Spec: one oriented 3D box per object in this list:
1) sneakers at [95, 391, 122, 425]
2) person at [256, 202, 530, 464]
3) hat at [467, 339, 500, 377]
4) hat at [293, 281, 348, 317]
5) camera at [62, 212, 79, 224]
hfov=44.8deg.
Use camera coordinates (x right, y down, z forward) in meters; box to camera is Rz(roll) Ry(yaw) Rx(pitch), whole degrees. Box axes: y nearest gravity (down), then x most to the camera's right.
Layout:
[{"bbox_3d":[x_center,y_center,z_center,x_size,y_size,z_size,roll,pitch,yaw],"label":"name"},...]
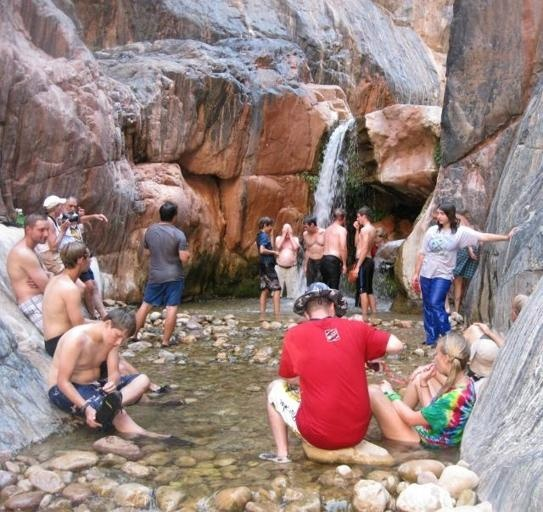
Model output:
[{"bbox_3d":[-1.134,1.054,4.561,0.245,0.273,0.101,2,6,27],"label":"sneakers"},{"bbox_3d":[0.665,0.768,4.736,0.765,1.966,1.119,0,5,-28],"label":"person"},{"bbox_3d":[1.550,0.730,4.766,0.198,0.331,0.152,11,20,37],"label":"hat"},{"bbox_3d":[0.406,0.358,5.575,0.381,0.235,0.523,-3,-29,7],"label":"hat"},{"bbox_3d":[-2.213,-0.427,7.224,0.129,0.082,0.113,4,13,-17],"label":"camera"}]
